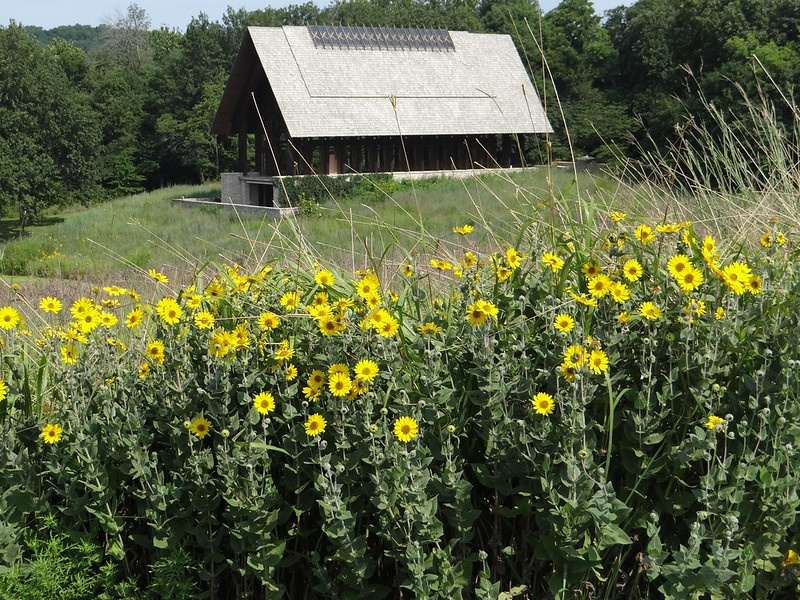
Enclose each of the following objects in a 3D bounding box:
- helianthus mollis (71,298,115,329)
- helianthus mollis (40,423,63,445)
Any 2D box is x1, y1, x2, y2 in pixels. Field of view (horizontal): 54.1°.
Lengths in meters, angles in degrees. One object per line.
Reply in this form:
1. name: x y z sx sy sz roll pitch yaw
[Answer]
1. helianthus mollis: -1.451 0.086 3.687 0.146 0.191 0.046 13 -41 -27
2. helianthus mollis: -1.608 0.615 3.619 0.086 0.098 0.217 -8 -3 -25
